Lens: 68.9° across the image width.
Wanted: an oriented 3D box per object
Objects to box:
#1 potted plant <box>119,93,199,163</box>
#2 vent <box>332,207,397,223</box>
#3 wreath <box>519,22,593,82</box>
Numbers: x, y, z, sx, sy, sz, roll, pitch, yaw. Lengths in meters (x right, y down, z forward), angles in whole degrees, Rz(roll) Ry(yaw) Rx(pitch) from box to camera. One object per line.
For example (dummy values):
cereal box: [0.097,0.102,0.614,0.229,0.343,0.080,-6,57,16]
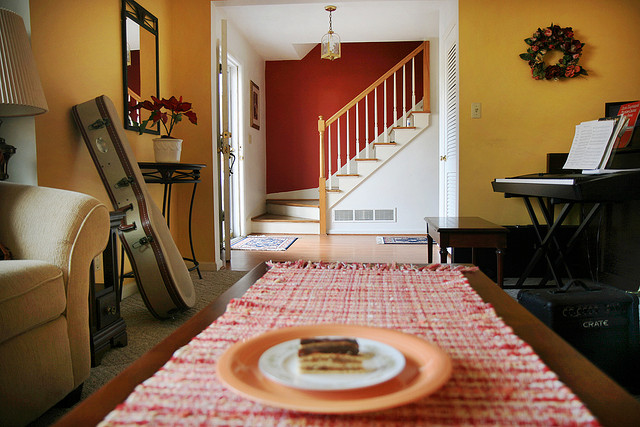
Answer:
potted plant: [-1.221,-0.651,3.716,0.616,0.491,0.532,7,0,-20]
vent: [0.617,0.018,6.524,0.884,0.205,0.086,0,8,2]
wreath: [1.966,-1.345,3.928,0.607,0.459,0.254,1,5,-1]
